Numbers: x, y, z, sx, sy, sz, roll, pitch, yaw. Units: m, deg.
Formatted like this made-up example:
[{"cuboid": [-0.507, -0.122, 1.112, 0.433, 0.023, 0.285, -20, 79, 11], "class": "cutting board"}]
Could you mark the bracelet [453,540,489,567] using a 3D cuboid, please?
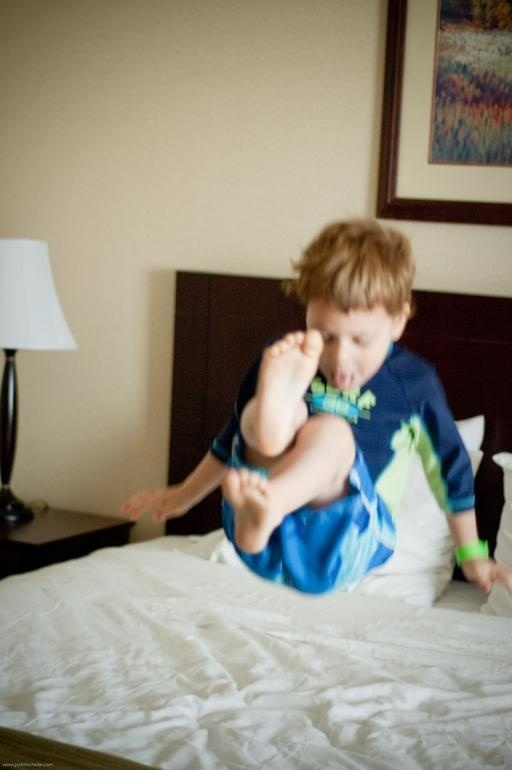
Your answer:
[{"cuboid": [0.323, 0.261, 0.978, 0.037, 0.030, 0.040, -12, 2, 44], "class": "bracelet"}]

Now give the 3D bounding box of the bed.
[{"cuboid": [0.232, 0.188, 1.915, 0.952, 0.692, 1.045, 4, 9, 24], "class": "bed"}]
